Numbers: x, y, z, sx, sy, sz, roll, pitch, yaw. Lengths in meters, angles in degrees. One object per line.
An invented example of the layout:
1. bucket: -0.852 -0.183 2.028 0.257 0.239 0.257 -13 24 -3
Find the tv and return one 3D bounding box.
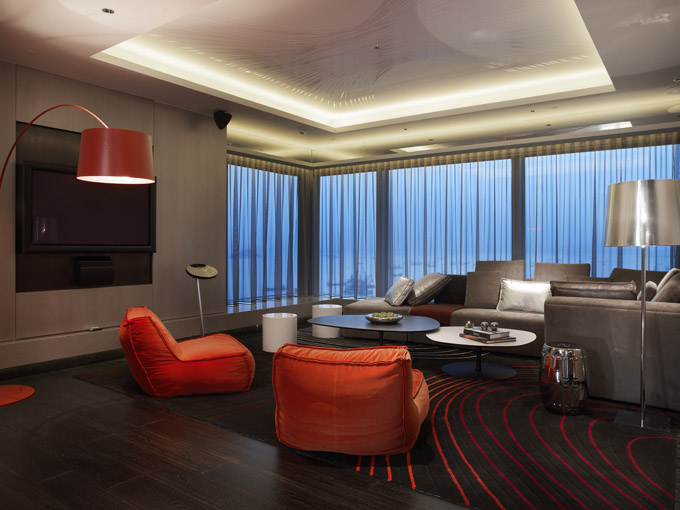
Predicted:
1. tv: -2.700 -0.507 5.139 0.118 0.636 1.181 3 2 38

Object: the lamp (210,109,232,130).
1. lamp: -1.538 -1.794 6.525 0.304 0.282 0.233 4 7 -5

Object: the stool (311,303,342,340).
1. stool: -0.188 0.868 6.469 0.454 0.431 0.421 1 1 17
